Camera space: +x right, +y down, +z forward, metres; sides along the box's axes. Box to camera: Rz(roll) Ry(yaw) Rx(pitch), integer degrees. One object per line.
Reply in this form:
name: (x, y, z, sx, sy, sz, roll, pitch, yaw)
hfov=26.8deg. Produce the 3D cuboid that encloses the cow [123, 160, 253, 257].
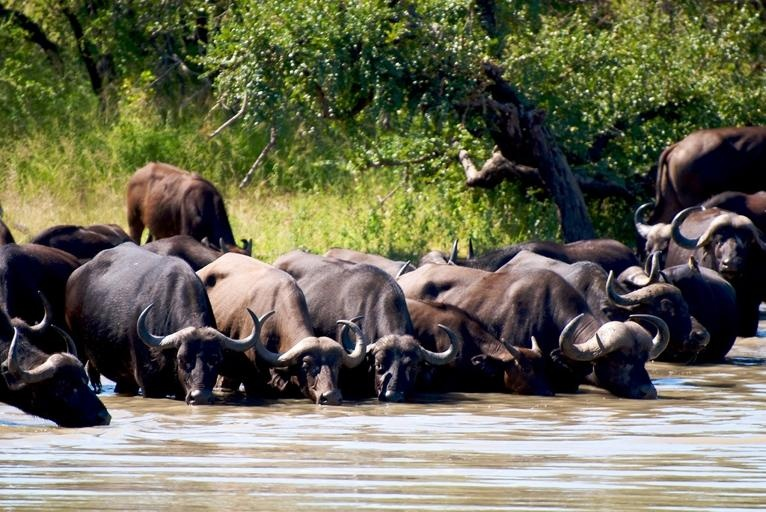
cow: (-4.165, -1.087, 33.357, 1.142, 1.658, 3.193, -4, 6, -29)
